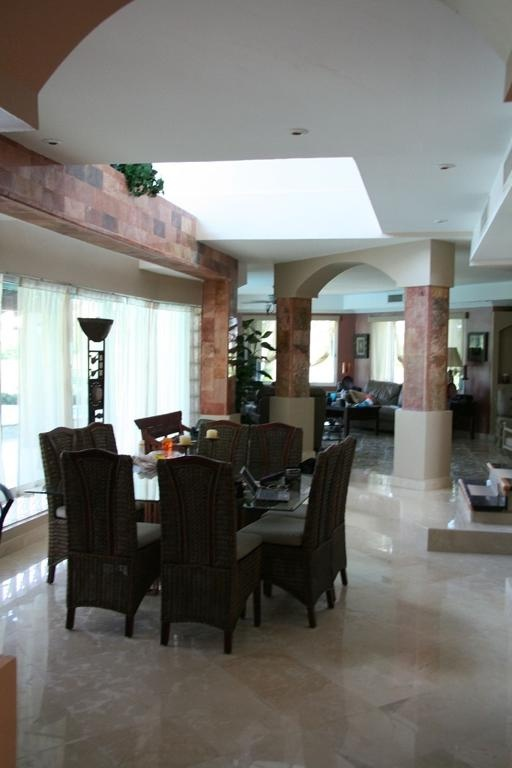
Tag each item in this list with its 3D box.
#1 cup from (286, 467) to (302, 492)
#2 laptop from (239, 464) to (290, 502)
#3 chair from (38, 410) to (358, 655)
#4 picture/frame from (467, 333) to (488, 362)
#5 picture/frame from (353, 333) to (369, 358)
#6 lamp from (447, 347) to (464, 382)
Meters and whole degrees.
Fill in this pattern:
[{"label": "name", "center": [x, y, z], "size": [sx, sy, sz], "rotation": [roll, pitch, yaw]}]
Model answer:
[{"label": "cup", "center": [0.238, 0.594, 3.495], "size": [0.087, 0.160, 0.089], "rotation": [-1, -1, 0]}, {"label": "laptop", "center": [0.048, 0.580, 3.296], "size": [0.158, 0.111, 0.179], "rotation": [-6, 11, 12]}, {"label": "chair", "center": [0.066, 0.671, 3.160], "size": [0.961, 0.764, 1.252], "rotation": [0, 2, 21]}, {"label": "picture/frame", "center": [4.132, -0.703, 10.441], "size": [0.043, 0.577, 0.488], "rotation": [-1, 6, -23]}, {"label": "picture/frame", "center": [2.454, -0.919, 13.063], "size": [0.075, 0.779, 0.544], "rotation": [2, 0, -35]}, {"label": "lamp", "center": [3.740, -0.402, 10.508], "size": [0.273, 0.678, 1.174], "rotation": [0, -2, 20]}]
